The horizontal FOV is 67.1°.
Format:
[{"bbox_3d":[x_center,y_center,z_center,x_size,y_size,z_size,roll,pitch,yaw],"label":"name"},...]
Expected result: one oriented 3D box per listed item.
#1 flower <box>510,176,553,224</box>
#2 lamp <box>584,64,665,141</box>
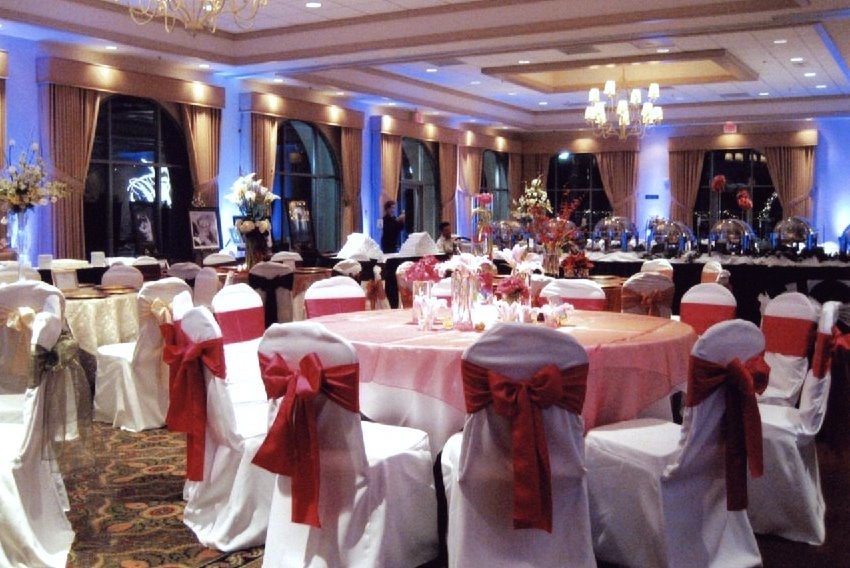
[{"bbox_3d":[2.276,-1.825,13.116,0.696,0.806,0.719,10,11,29],"label":"flower"},{"bbox_3d":[4.044,-3.770,13.119,0.974,1.203,1.016,2,3,10],"label":"lamp"}]
